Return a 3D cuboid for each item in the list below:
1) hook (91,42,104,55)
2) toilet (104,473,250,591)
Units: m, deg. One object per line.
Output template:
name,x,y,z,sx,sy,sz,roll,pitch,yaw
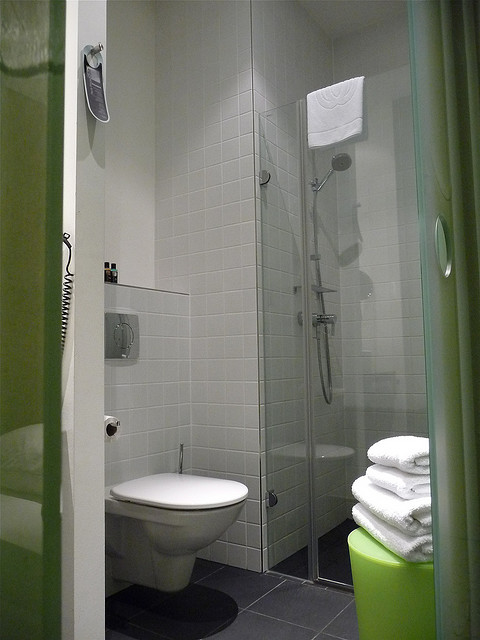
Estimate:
hook,-0.253,-0.481,0.977,0.003,0.027,0.025,-2,-2,39
toilet,-0.223,0.731,1.871,0.530,0.333,0.313,-3,-3,35
